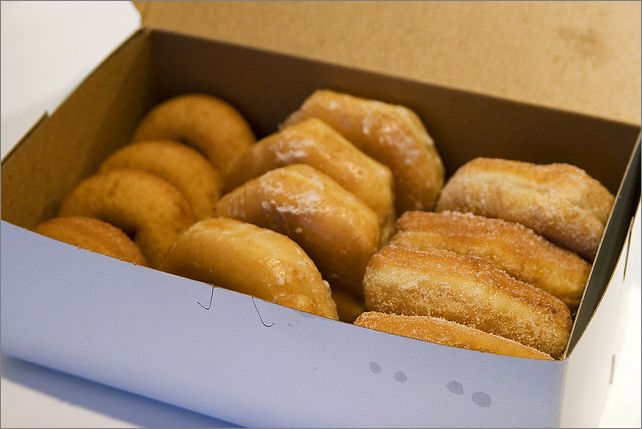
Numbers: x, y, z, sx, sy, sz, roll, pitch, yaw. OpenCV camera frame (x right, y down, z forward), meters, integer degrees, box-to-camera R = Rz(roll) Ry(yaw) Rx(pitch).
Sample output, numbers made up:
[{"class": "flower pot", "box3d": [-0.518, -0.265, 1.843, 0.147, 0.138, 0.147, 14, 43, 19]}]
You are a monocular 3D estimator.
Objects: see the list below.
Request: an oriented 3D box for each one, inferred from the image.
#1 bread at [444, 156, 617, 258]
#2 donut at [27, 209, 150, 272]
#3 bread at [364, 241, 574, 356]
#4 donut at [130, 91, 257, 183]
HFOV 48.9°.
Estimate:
[{"class": "bread", "box3d": [0.368, -0.038, 1.285, 0.290, 0.153, 0.142, 19, 38, 40]}, {"class": "donut", "box3d": [-0.428, 0.045, 1.324, 0.141, 0.051, 0.154, 32, 21, -15]}, {"class": "bread", "box3d": [0.243, 0.132, 1.172, 0.303, 0.140, 0.156, 18, -8, 19]}, {"class": "donut", "box3d": [-0.245, -0.190, 1.570, 0.199, 0.083, 0.225, 5, -4, 4]}]
